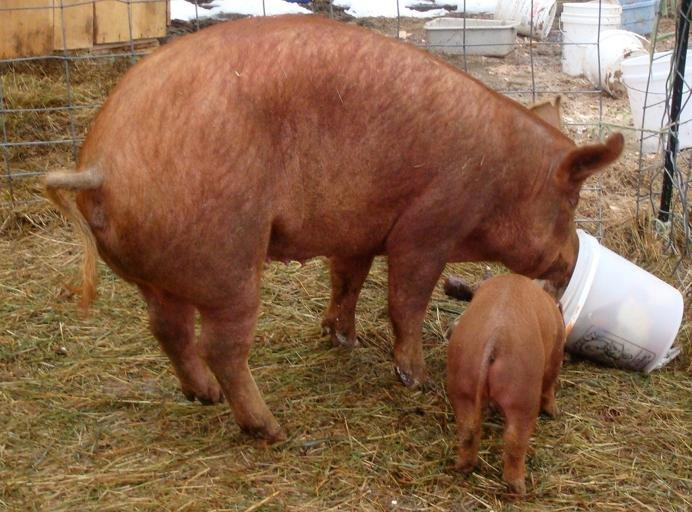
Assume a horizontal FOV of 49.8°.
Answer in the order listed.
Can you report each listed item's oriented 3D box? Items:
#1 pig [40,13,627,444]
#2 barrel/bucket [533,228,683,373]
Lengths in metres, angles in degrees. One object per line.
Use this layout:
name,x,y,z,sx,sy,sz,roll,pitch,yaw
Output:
pig,0.091,-0.170,4.012,2.885,1.998,1.228,-9,20,-24
barrel/bucket,1.475,0.287,4.312,0.761,0.765,0.703,10,1,0
